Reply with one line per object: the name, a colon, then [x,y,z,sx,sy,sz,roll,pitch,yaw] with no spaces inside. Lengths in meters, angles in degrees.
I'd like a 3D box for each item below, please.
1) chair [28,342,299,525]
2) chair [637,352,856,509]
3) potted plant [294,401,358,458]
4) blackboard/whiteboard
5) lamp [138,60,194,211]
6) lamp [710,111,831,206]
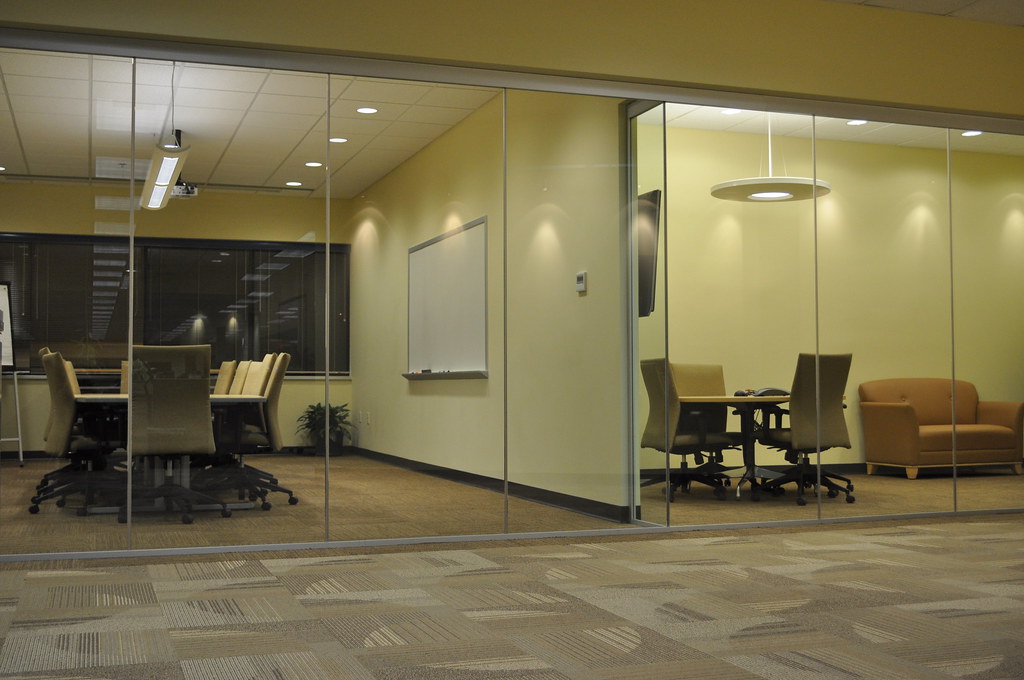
chair: [-2.215,0.612,5.299,1.288,0.691,1.179,0,-1,1]
chair: [1.734,0.604,5.868,1.466,0.946,1.230,1,-2,-28]
potted plant: [-1.233,0.579,5.129,0.353,0.290,0.355,0,1,33]
blackboard/whiteboard: [-0.485,-0.264,5.375,0.699,1.071,0.120,-5,-7,33]
lamp: [-2.196,-1.284,4.939,0.248,0.915,0.177,0,-2,21]
lamp: [1.936,-1.231,5.978,0.712,0.754,0.747,-10,-18,42]
